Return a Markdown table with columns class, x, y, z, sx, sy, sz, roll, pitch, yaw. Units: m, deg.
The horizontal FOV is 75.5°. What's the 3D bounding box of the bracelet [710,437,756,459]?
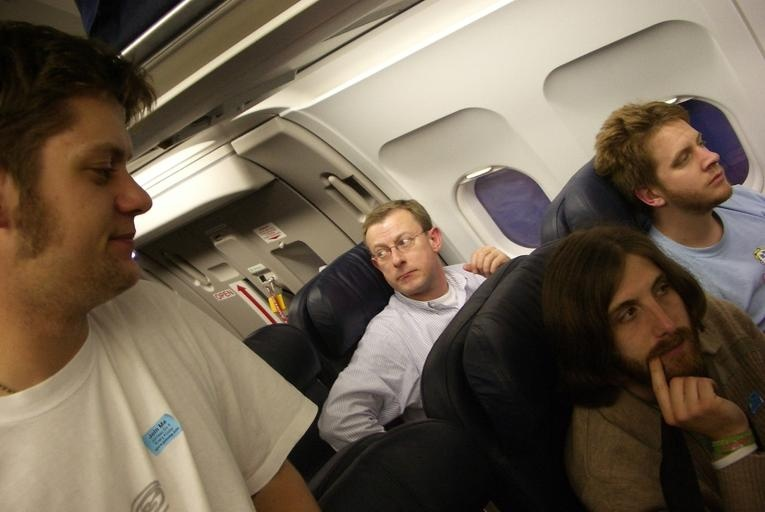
| class | x | y | z | sx | sy | sz | roll | pitch | yaw |
| --- | --- | --- | --- | --- | --- | --- | --- | --- | --- |
| bracelet | 1.091 | 0.589 | 1.542 | 0.091 | 0.063 | 0.095 | -21 | -5 | 27 |
